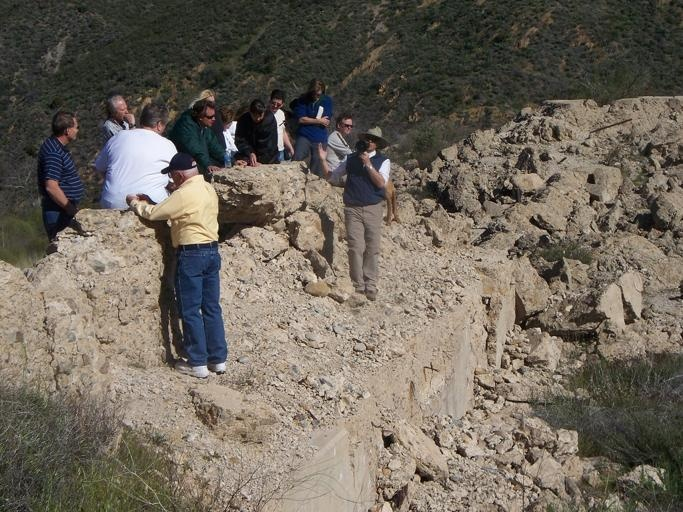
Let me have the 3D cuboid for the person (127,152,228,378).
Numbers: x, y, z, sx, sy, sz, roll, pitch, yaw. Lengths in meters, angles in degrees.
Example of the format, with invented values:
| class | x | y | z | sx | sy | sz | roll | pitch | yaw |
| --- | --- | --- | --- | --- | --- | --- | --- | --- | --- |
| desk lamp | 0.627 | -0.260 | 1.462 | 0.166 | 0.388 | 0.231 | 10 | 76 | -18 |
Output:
| class | x | y | z | sx | sy | sz | roll | pitch | yaw |
| --- | --- | --- | --- | --- | --- | --- | --- | --- | --- |
| person | -2.564 | 0.157 | 17.349 | 1.208 | 3.724 | 0.606 | -2 | 7 | -8 |

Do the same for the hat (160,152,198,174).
| class | x | y | z | sx | sy | sz | roll | pitch | yaw |
| --- | --- | --- | --- | --- | --- | --- | --- | --- | --- |
| hat | -2.666 | -1.558 | 17.200 | 0.409 | 0.295 | 0.314 | 2 | 14 | 8 |

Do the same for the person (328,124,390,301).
| class | x | y | z | sx | sy | sz | roll | pitch | yaw |
| --- | --- | --- | --- | --- | --- | --- | --- | --- | --- |
| person | 0.465 | -0.762 | 19.382 | 0.839 | 3.211 | 0.464 | -1 | 7 | 0 |

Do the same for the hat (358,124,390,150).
| class | x | y | z | sx | sy | sz | roll | pitch | yaw |
| --- | --- | --- | --- | --- | --- | --- | --- | --- | --- |
| hat | 0.596 | -2.173 | 19.253 | 0.518 | 0.390 | 0.540 | -1 | 9 | 0 |

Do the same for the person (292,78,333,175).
| class | x | y | z | sx | sy | sz | roll | pitch | yaw |
| --- | --- | --- | --- | --- | --- | --- | --- | --- | --- |
| person | -0.590 | -2.465 | 21.172 | 0.721 | 2.493 | 0.703 | 0 | 31 | -2 |

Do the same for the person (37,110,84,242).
| class | x | y | z | sx | sy | sz | roll | pitch | yaw |
| --- | --- | --- | --- | --- | --- | --- | --- | --- | --- |
| person | -4.840 | -1.369 | 17.892 | 0.733 | 2.203 | 0.645 | -3 | 8 | -19 |

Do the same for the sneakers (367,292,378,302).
| class | x | y | z | sx | sy | sz | roll | pitch | yaw |
| --- | --- | --- | --- | --- | --- | --- | --- | --- | --- |
| sneakers | 0.585 | 0.776 | 19.533 | 0.154 | 0.184 | 0.165 | -1 | -2 | -45 |

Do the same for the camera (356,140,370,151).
| class | x | y | z | sx | sy | sz | roll | pitch | yaw |
| --- | --- | --- | --- | --- | --- | --- | --- | --- | --- |
| camera | 0.379 | -2.034 | 19.111 | 0.167 | 0.200 | 0.230 | -8 | 11 | -40 |

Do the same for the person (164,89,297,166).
| class | x | y | z | sx | sy | sz | roll | pitch | yaw |
| --- | --- | --- | --- | --- | --- | --- | --- | --- | --- |
| person | -2.024 | -2.383 | 19.177 | 1.094 | 1.310 | 1.892 | -5 | 10 | -31 |

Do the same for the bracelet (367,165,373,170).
| class | x | y | z | sx | sy | sz | roll | pitch | yaw |
| --- | --- | --- | --- | --- | --- | --- | --- | --- | --- |
| bracelet | 0.531 | -1.640 | 19.074 | 0.070 | 0.092 | 0.019 | -1 | 3 | -16 |

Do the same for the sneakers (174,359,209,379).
| class | x | y | z | sx | sy | sz | roll | pitch | yaw |
| --- | --- | --- | --- | --- | --- | --- | --- | --- | --- |
| sneakers | -2.485 | 1.885 | 17.400 | 0.565 | 0.309 | 0.245 | 19 | 15 | 6 |
